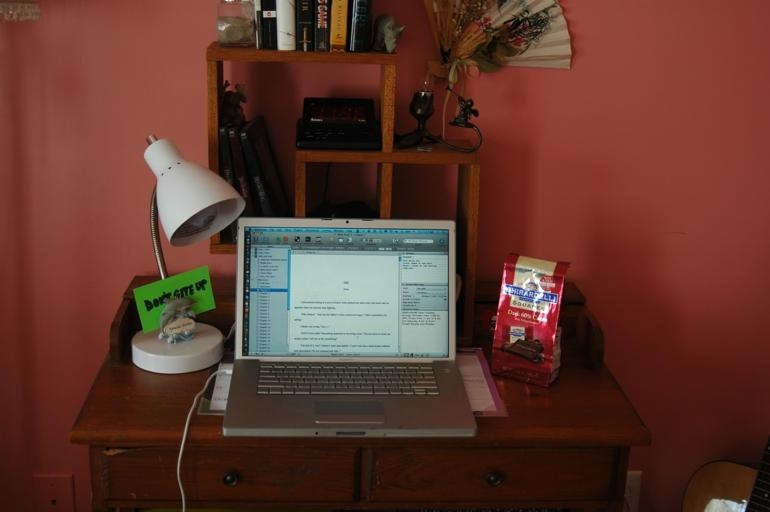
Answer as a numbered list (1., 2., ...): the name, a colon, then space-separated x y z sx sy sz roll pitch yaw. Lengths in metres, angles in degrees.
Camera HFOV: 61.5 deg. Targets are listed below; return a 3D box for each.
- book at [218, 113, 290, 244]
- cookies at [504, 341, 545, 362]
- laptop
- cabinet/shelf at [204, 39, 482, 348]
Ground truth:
1. book: -0.419 -0.226 2.013 0.114 0.298 0.312 -16 26 7
2. cookies: 0.431 0.287 1.941 0.079 0.062 0.031 10 -25 8
3. laptop: -0.119 0.128 1.970 0.766 0.576 0.492 0 9 -4
4. cabinet/shelf: -0.129 -0.214 2.123 0.843 0.822 0.246 2 13 3
